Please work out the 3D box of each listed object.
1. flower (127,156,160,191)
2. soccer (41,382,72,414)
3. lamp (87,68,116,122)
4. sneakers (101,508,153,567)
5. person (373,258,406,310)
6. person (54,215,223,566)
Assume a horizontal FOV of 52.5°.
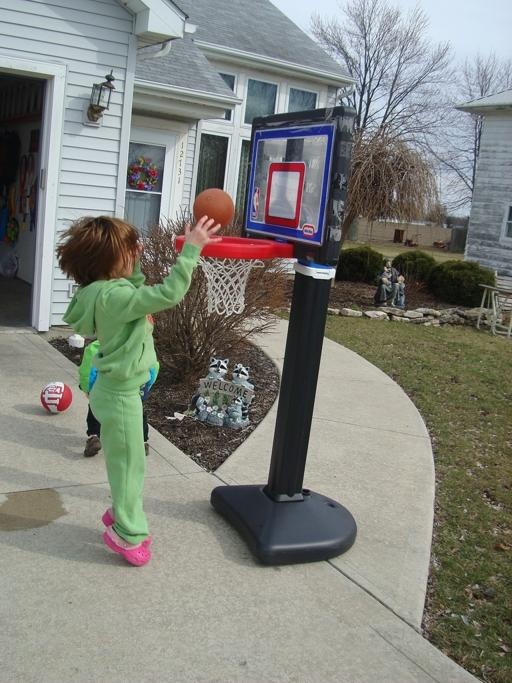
[{"bbox_3d":[-2.060,-3.078,9.582,0.577,0.594,0.579,-6,26,-21],"label":"flower"},{"bbox_3d":[-1.528,0.461,4.077,0.244,0.261,0.225,11,50,-24],"label":"soccer"},{"bbox_3d":[-1.835,-2.912,6.206,0.277,0.570,0.210,15,23,-5],"label":"lamp"},{"bbox_3d":[-0.571,0.890,2.320,0.274,0.112,0.160,34,20,8],"label":"sneakers"},{"bbox_3d":[2.985,-1.218,11.437,0.675,0.741,0.423,9,6,-6],"label":"person"},{"bbox_3d":[-0.561,0.208,2.190,0.642,1.527,0.398,13,7,27],"label":"person"}]
